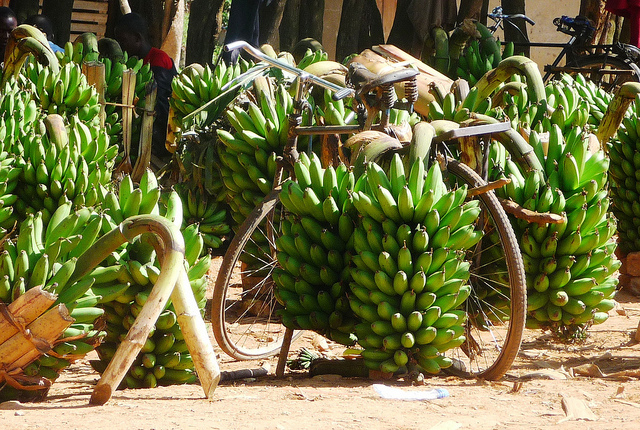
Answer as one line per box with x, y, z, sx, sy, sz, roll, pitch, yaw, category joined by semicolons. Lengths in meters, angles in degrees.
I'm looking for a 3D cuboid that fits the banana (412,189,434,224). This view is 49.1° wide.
0.730;-0.040;4.993;0.078;0.310;0.105;17;26;-5;banana

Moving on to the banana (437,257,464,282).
0.915;0.384;4.946;0.066;0.095;0.266;2;-34;-15;banana

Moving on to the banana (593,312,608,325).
2.261;0.847;5.709;0.062;0.119;0.202;7;-4;-2;banana

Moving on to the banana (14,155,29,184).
-2.384;-0.370;5.622;0.062;0.270;0.098;0;-1;-5;banana

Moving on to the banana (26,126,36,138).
-2.466;-0.703;5.998;0.032;0.063;0.193;8;-7;-19;banana

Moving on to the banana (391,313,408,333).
0.553;0.761;4.958;0.071;0.095;0.159;0;-37;36;banana

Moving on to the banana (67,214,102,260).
-1.571;0.163;4.679;0.089;0.277;0.065;13;-26;25;banana

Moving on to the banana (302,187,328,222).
-0.036;-0.071;5.210;0.115;0.363;0.089;-18;13;-34;banana

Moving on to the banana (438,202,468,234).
0.930;0.023;5.001;0.084;0.322;0.118;36;8;22;banana

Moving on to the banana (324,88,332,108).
0.075;-1.128;6.757;0.049;0.204;0.065;-11;-12;44;banana

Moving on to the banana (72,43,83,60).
-3.150;-2.108;9.128;0.107;0.211;0.133;2;13;-16;banana

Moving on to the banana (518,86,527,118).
1.923;-1.063;6.669;0.091;0.295;0.079;11;15;13;banana

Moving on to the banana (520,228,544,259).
1.696;0.195;5.529;0.083;0.166;0.254;-31;-20;11;banana

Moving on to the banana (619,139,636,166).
3.320;-0.662;7.587;0.064;0.276;0.085;-20;11;-10;banana

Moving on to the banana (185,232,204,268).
-0.901;0.247;5.014;0.070;0.296;0.097;19;-4;-19;banana

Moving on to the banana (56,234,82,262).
-1.660;0.207;4.660;0.074;0.258;0.092;47;14;-6;banana

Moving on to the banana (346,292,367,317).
0.257;0.644;5.060;0.076;0.059;0.214;-28;49;-11;banana

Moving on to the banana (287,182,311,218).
-0.167;-0.107;5.270;0.111;0.353;0.092;1;-35;-43;banana

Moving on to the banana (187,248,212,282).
-0.931;0.392;5.418;0.163;0.472;0.110;2;47;-10;banana

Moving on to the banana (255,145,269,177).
-0.545;-0.505;6.634;0.079;0.333;0.109;-20;25;-10;banana

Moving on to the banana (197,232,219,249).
-1.146;0.268;7.212;0.232;0.051;0.078;43;11;-36;banana

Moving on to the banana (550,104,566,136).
2.148;-0.864;6.336;0.077;0.329;0.113;1;41;8;banana

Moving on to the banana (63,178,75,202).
-1.995;-0.197;5.598;0.051;0.210;0.067;-6;11;-32;banana

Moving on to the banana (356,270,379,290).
0.341;0.465;4.959;0.137;0.041;0.045;48;33;19;banana

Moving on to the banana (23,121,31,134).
-2.560;-0.757;6.146;0.031;0.129;0.092;19;27;-26;banana

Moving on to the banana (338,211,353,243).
0.200;0.102;5.188;0.065;0.239;0.079;1;16;1;banana

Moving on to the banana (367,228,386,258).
0.395;0.200;4.958;0.085;0.264;0.074;-13;-7;-37;banana

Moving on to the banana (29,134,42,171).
-2.311;-0.514;5.721;0.080;0.336;0.104;4;1;26;banana

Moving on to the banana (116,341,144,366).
-1.192;0.875;4.412;0.168;0.251;0.079;1;3;-16;banana

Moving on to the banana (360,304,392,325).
0.413;0.728;5.055;0.319;0.113;0.086;26;-31;-32;banana

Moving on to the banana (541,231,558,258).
1.766;0.246;5.411;0.072;0.250;0.079;5;19;-9;banana

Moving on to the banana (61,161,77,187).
-2.005;-0.320;5.652;0.061;0.091;0.259;21;49;-9;banana

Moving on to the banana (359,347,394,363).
0.445;1.009;5.056;0.309;0.097;0.111;6;2;-4;banana

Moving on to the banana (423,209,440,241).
0.785;0.083;4.955;0.072;0.216;0.067;-29;57;-30;banana

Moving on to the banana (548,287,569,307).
1.845;0.643;5.416;0.136;0.129;0.108;5;13;-2;banana

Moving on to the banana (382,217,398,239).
0.497;0.100;4.989;0.055;0.198;0.067;-22;18;38;banana

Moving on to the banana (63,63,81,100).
-2.723;-1.476;7.814;0.101;0.422;0.138;25;-24;-27;banana

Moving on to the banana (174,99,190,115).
-1.554;-1.208;7.855;0.140;0.117;0.409;6;12;-27;banana

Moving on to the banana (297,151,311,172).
-0.123;-0.427;5.543;0.049;0.072;0.194;6;30;-17;banana

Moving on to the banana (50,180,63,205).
-2.095;-0.180;5.579;0.054;0.228;0.073;-2;32;-5;banana

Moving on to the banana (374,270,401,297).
0.464;0.498;4.969;0.071;0.279;0.092;-32;20;16;banana

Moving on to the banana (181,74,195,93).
-1.499;-1.483;7.985;0.073;0.108;0.287;-11;41;-26;banana

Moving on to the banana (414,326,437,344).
0.740;0.845;4.917;0.059;0.103;0.186;16;-14;-24;banana

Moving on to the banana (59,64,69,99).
-2.789;-1.448;7.727;0.079;0.360;0.118;10;-26;-35;banana

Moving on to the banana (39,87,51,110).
-3.007;-1.237;7.692;0.110;0.200;0.065;4;13;-8;banana

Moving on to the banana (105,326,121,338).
-1.443;0.829;4.917;0.106;0.081;0.015;8;13;8;banana

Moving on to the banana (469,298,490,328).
1.300;0.817;5.660;0.067;0.395;0.051;14;50;48;banana

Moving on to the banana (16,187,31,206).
-2.380;-0.141;5.642;0.031;0.138;0.045;-30;1;11;banana

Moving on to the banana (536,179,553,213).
1.726;-0.103;5.396;0.073;0.300;0.109;11;-5;-10;banana

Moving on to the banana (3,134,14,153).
-2.531;-0.575;5.760;0.043;0.052;0.165;25;46;-13;banana

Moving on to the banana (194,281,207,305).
-0.852;0.572;5.023;0.046;0.155;0.171;8;13;14;banana

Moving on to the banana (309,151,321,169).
-0.042;-0.430;5.517;0.050;0.070;0.194;15;9;-1;banana
